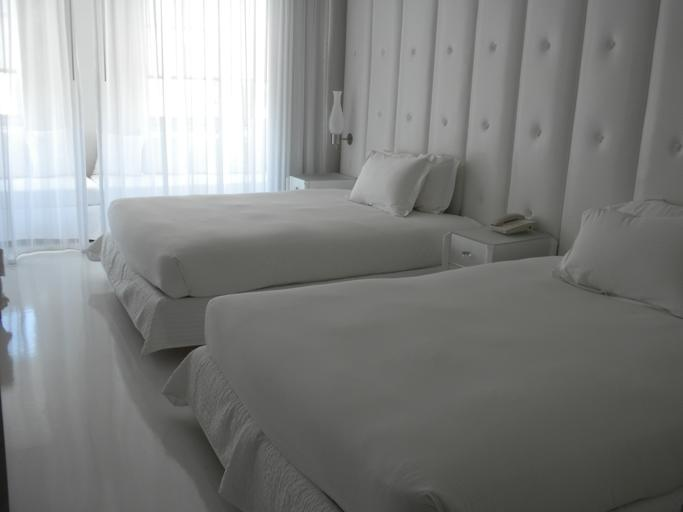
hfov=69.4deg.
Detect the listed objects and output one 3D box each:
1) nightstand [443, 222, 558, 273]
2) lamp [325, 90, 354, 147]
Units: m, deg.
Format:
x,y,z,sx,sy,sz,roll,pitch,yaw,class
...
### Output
x,y,z,sx,sy,sz,roll,pitch,yaw,class
1.026,-0.115,3.158,0.421,0.243,0.361,-7,14,-27,nightstand
-0.030,-1.489,5.360,0.245,0.573,0.483,-4,18,-7,lamp
